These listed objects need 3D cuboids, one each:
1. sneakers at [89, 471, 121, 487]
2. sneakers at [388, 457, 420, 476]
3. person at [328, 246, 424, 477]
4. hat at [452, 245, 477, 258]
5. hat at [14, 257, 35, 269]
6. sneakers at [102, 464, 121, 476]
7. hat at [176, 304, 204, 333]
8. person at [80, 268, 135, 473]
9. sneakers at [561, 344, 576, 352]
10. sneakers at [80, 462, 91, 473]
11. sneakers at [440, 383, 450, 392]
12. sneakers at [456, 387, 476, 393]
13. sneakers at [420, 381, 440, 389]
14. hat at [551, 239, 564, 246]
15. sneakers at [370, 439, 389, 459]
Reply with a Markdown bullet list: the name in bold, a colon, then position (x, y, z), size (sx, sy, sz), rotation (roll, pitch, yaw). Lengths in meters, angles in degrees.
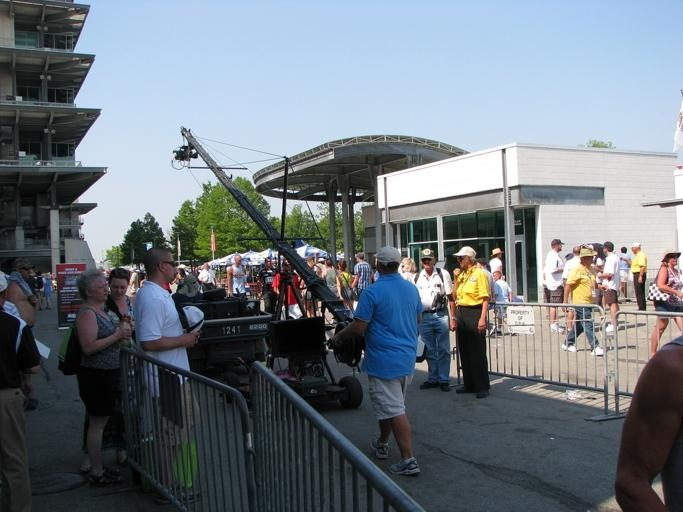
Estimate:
- **sneakers**: position (-2.378, 2.267, 7.061), size (0.309, 0.131, 0.132), rotation (0, -1, -18)
- **sneakers**: position (0.660, 2.155, 7.148), size (0.345, 0.162, 0.134), rotation (-5, -8, 36)
- **person**: position (0.458, 1.075, 7.332), size (0.716, 2.301, 0.681), rotation (-2, 3, 6)
- **hat**: position (1.840, -0.090, 10.287), size (0.306, 0.172, 0.222), rotation (4, -7, -9)
- **hat**: position (-5.331, 0.138, 11.674), size (0.348, 0.184, 0.240), rotation (-5, -4, 15)
- **sneakers**: position (-2.389, 2.230, 7.255), size (0.096, 0.106, 0.262), rotation (9, -18, -31)
- **hat**: position (-1.501, 0.585, 6.953), size (0.216, 0.273, 0.257), rotation (18, 20, 13)
- **person**: position (-2.443, 1.196, 7.234), size (0.546, 2.119, 0.582), rotation (-3, 4, -23)
- **sneakers**: position (3.506, 1.409, 10.716), size (0.267, 0.096, 0.104), rotation (8, -25, -28)
- **sneakers**: position (-2.659, 2.210, 7.273), size (0.070, 0.074, 0.191), rotation (2, -8, -14)
- **sneakers**: position (1.548, 1.935, 10.332), size (0.155, 0.101, 0.199), rotation (-2, 3, 6)
- **sneakers**: position (1.800, 1.952, 10.129), size (0.285, 0.116, 0.098), rotation (6, 0, 21)
- **sneakers**: position (1.331, 1.953, 10.580), size (0.310, 0.129, 0.104), rotation (6, -6, -16)
- **hat**: position (5.328, -0.340, 17.243), size (0.351, 0.202, 0.251), rotation (-12, 12, -42)
- **sneakers**: position (0.434, 2.118, 7.672), size (0.102, 0.120, 0.262), rotation (2, 1, -4)
